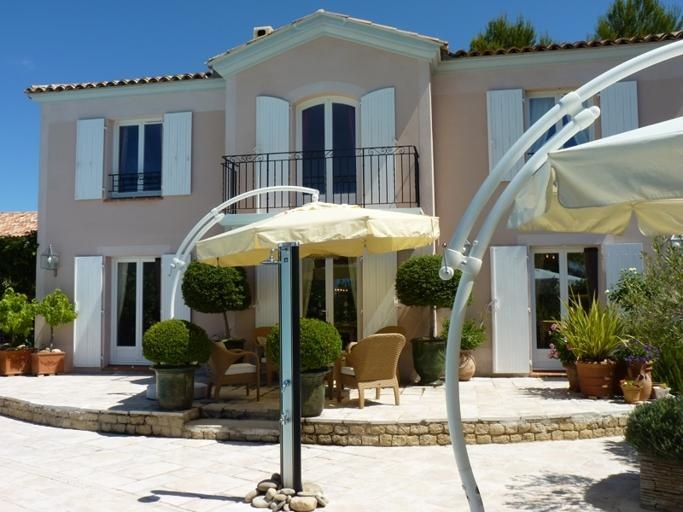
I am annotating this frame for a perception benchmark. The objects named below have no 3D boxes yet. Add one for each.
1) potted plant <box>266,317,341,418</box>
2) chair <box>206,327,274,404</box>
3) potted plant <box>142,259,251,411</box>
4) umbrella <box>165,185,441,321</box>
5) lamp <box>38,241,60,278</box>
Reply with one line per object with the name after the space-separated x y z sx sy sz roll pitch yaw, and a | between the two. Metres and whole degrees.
-0.417 1.751 10.851 1.278 1.752 1.259 -1 -7 -5 | potted plant
-1.778 1.872 12.062 1.030 1.284 0.977 1 -2 -21 | chair
-2.485 1.433 12.472 2.023 3.312 1.294 0 -4 -7 | potted plant
-0.776 -0.105 11.537 3.940 2.078 3.310 5 10 41 | umbrella
-6.403 0.030 15.364 0.507 1.117 0.552 3 -5 -29 | lamp
